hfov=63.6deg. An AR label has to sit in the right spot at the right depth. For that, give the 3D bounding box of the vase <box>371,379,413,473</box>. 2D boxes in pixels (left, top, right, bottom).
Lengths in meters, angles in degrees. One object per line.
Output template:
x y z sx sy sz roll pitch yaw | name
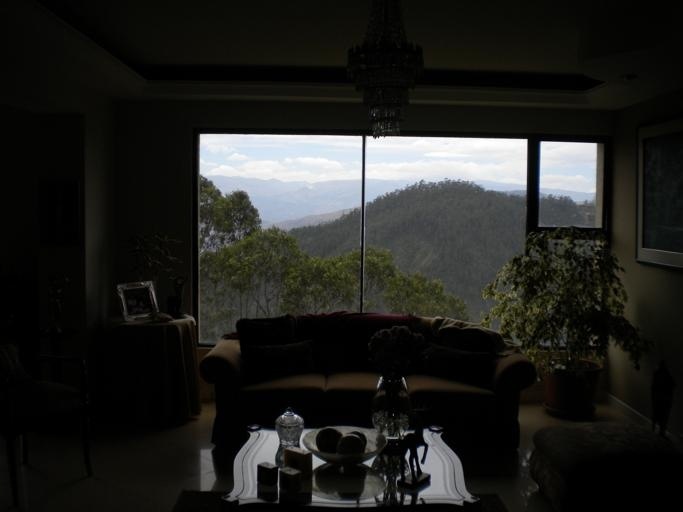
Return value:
0.348 1.094 3.861 0.239 0.448 0.253 -3 -5 11 | vase

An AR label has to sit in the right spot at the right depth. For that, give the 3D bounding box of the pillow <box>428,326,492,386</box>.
1.113 0.938 5.035 0.728 0.545 0.433 6 -9 22 | pillow

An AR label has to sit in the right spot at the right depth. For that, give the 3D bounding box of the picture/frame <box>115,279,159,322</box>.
-1.977 0.437 5.355 0.316 0.359 0.037 -10 -5 -45 | picture/frame

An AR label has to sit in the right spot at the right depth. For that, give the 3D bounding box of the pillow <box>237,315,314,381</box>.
-0.627 0.838 4.956 0.542 0.570 0.198 -3 -26 -22 | pillow

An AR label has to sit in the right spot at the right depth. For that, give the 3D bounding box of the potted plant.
1.990 0.518 5.801 1.829 2.462 1.605 0 -3 -1 | potted plant

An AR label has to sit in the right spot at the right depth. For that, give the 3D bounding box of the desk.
-1.758 1.094 5.391 1.022 0.891 1.081 0 -4 10 | desk

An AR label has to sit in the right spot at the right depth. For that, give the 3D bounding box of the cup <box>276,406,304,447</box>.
-0.357 1.156 3.749 0.182 0.234 0.193 3 -2 0 | cup
